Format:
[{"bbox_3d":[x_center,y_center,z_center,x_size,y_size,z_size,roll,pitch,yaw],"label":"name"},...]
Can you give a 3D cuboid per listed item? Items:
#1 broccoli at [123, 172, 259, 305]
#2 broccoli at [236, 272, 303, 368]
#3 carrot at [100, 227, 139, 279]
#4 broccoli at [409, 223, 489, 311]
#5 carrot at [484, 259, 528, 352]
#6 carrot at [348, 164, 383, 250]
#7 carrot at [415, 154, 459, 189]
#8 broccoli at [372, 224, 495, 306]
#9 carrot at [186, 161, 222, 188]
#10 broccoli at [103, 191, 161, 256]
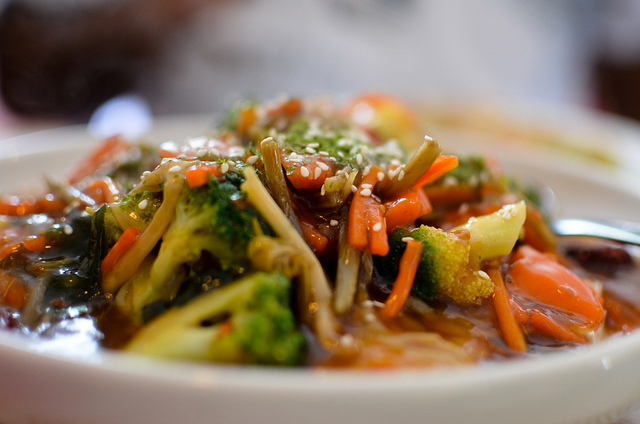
[{"bbox_3d":[-0.400,0.080,1.781,0.411,0.302,0.265,-4,43,-8],"label":"broccoli"},{"bbox_3d":[-0.146,0.315,1.629,0.212,0.072,0.252,7,80,-9],"label":"broccoli"},{"bbox_3d":[-0.652,0.129,1.824,0.149,0.126,0.052,-22,47,-25],"label":"carrot"},{"bbox_3d":[0.379,0.192,1.905,0.287,0.143,0.230,44,76,-15],"label":"broccoli"},{"bbox_3d":[0.615,0.308,1.855,0.068,0.045,0.289,-5,62,-5],"label":"carrot"},{"bbox_3d":[0.150,-0.020,1.904,0.062,0.076,0.309,17,57,8],"label":"carrot"},{"bbox_3d":[0.405,-0.168,1.963,0.118,0.119,0.038,-40,75,4],"label":"carrot"},{"bbox_3d":[0.373,0.201,1.918,0.345,0.127,0.247,29,75,-11],"label":"broccoli"},{"bbox_3d":[-0.376,-0.114,1.816,0.085,0.030,0.086,-4,64,-3],"label":"carrot"},{"bbox_3d":[-0.655,0.038,1.880,0.069,0.160,0.214,37,26,-24],"label":"broccoli"}]
